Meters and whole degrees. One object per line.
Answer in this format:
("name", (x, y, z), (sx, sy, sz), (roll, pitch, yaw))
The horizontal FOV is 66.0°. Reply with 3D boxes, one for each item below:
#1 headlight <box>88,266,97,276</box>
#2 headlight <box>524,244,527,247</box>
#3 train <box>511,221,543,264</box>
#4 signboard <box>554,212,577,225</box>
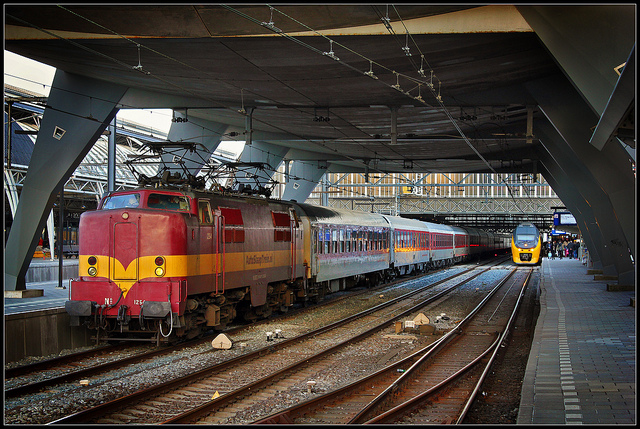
("headlight", (-6.390, 1.592, 13.840), (0.233, 0.226, 0.056), (-4, -2, 16))
("headlight", (21.204, 3.122, 50.968), (0.250, 0.207, 0.238), (7, -8, -39))
("train", (21.444, 2.861, 51.317), (2.677, 4.419, 1.868), (-4, -6, 17))
("signboard", (22.507, 0.322, 45.566), (1.692, 1.292, 1.065), (-6, -7, 27))
